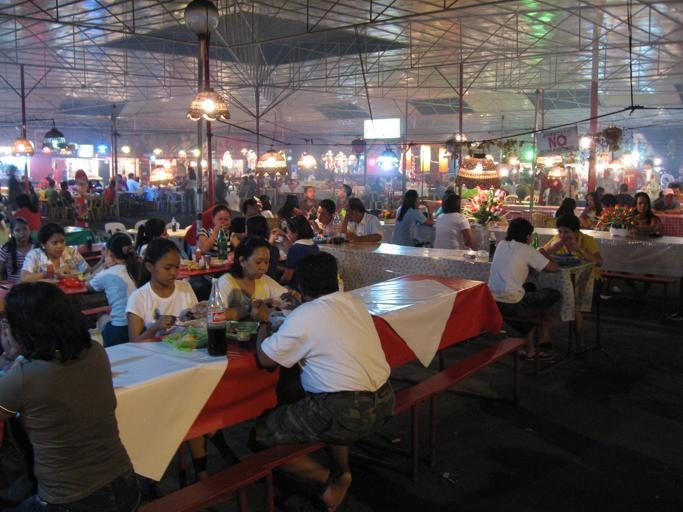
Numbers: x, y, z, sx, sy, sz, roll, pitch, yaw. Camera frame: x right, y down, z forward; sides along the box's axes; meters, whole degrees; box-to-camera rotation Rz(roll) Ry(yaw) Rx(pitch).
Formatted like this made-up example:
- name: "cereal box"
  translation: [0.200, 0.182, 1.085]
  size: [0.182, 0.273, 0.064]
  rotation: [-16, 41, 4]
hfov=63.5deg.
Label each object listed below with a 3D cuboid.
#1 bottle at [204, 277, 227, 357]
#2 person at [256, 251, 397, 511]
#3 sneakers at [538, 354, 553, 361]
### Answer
- name: "bottle"
  translation: [-0.706, 0.343, 3.093]
  size: [0.109, 0.354, 0.291]
  rotation: [-3, 12, -13]
- name: "person"
  translation: [-0.109, 0.538, 3.014]
  size: [0.782, 1.077, 0.308]
  rotation: [0, 11, 4]
- name: "sneakers"
  translation: [2.078, 1.034, 5.629]
  size: [0.135, 0.076, 0.207]
  rotation: [-2, -2, 13]
